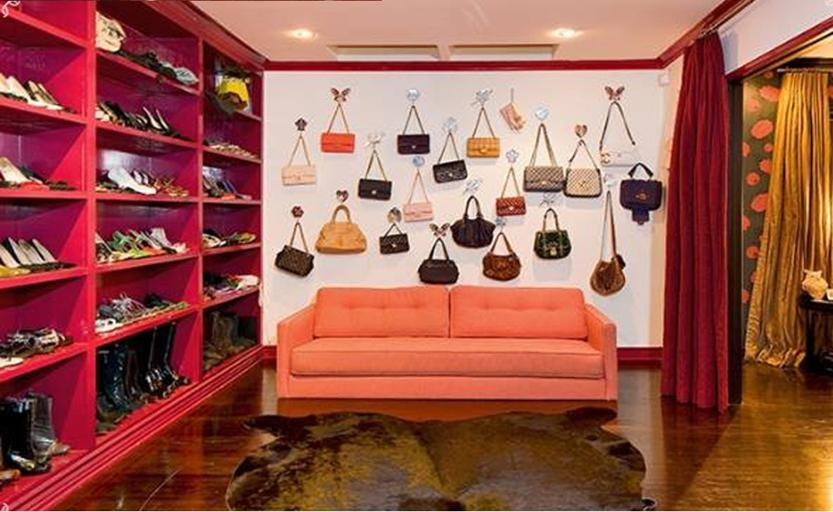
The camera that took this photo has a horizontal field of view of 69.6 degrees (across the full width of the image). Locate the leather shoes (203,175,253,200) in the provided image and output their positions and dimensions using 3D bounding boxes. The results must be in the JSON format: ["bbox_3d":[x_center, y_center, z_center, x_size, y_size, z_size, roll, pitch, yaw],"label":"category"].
[{"bbox_3d":[-2.004,-0.691,6.166,0.404,0.133,0.266,2,4,37],"label":"leather shoes"}]

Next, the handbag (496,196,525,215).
[{"bbox_3d":[0.999,-0.524,6.377,0.223,0.139,0.035,-1,0,1],"label":"handbag"}]

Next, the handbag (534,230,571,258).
[{"bbox_3d":[1.442,-0.121,6.367,0.334,0.269,0.150,0,-2,0],"label":"handbag"}]

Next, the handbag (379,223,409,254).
[{"bbox_3d":[-0.233,-0.172,6.436,0.351,0.323,0.101,-1,-8,-2],"label":"handbag"}]

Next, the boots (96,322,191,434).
[{"bbox_3d":[-2.391,1.083,5.170,0.373,0.577,1.000,2,5,11],"label":"boots"}]

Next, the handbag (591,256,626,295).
[{"bbox_3d":[2.038,0.230,6.360,0.348,0.418,0.175,10,3,11],"label":"handbag"}]

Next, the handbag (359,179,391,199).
[{"bbox_3d":[-0.452,-0.707,6.394,0.241,0.145,0.039,1,-1,-1],"label":"handbag"}]

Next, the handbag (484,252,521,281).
[{"bbox_3d":[0.901,0.115,6.371,0.349,0.219,0.089,0,-4,2],"label":"handbag"}]

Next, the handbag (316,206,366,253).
[{"bbox_3d":[-0.794,-0.272,6.418,0.538,0.456,0.208,0,-18,-5],"label":"handbag"}]

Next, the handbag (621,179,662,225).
[{"bbox_3d":[2.380,-0.581,6.329,0.535,0.570,0.165,1,9,4],"label":"handbag"}]
